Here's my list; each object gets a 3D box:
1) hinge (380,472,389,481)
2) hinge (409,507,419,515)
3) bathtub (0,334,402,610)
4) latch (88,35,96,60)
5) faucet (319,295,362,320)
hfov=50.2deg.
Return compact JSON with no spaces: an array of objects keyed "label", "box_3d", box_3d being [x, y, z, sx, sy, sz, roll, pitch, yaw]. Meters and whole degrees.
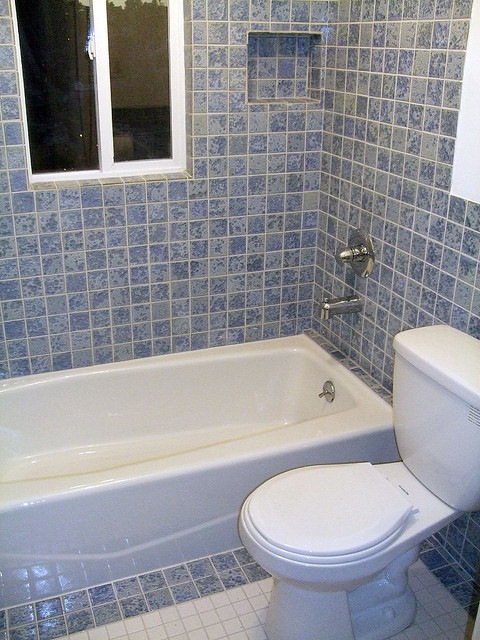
[{"label":"hinge","box_3d":[0.377,0.407,1.341,0.025,0.006,0.015,32,-11,7]},{"label":"hinge","box_3d":[0.420,0.458,1.241,0.020,0.008,0.016,-5,11,-17]},{"label":"bathtub","box_3d":[-0.176,0.464,1.797,1.223,0.526,0.780,-6,13,-23]},{"label":"latch","box_3d":[-0.498,-0.911,1.718,0.017,0.067,0.032,-8,14,-30]},{"label":"faucet","box_3d":[0.364,-0.053,1.907,0.142,0.084,0.081,-11,30,-19]}]
